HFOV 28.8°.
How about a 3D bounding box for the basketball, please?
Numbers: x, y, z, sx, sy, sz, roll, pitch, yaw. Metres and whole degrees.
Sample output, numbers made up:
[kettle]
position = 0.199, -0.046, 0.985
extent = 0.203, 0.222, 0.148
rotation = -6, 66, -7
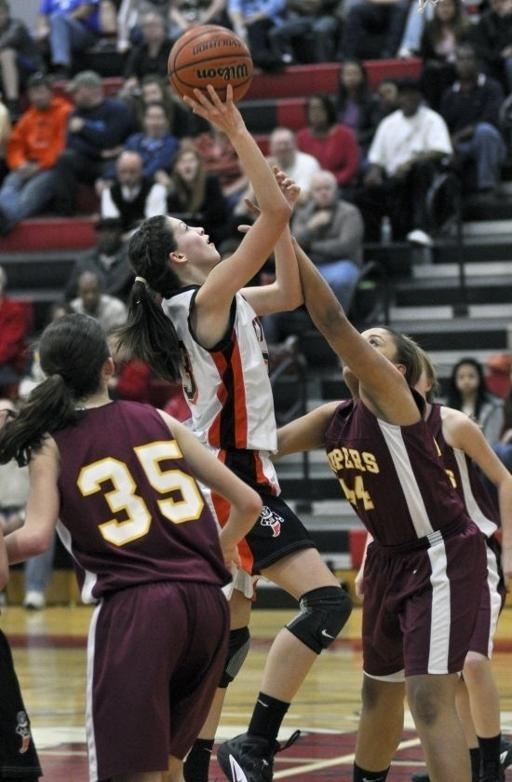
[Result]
[basketball]
position = -0.123, -0.858, 2.676
extent = 0.243, 0.219, 0.185
rotation = -16, 27, -32
